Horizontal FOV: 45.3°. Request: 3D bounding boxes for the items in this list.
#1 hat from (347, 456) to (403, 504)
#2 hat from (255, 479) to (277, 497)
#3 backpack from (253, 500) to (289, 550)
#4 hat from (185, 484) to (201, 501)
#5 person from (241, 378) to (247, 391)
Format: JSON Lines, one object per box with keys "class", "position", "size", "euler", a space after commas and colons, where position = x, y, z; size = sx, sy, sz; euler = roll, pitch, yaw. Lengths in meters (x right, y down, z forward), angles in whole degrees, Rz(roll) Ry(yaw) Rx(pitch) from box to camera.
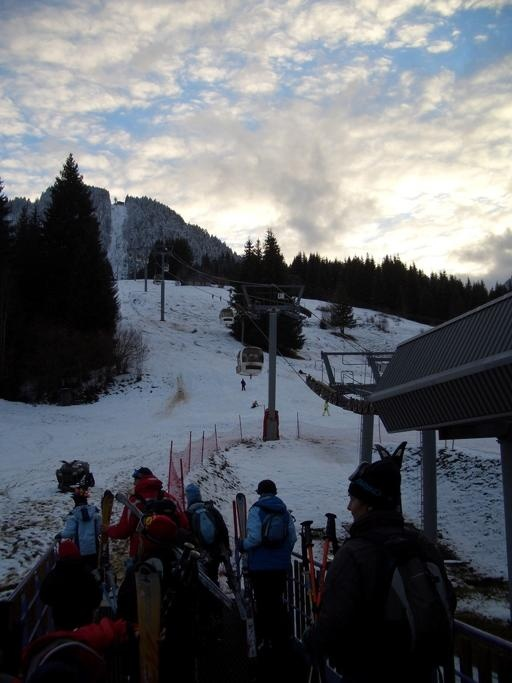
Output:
{"class": "hat", "position": [0.605, 0.720, 3.159], "size": [0.241, 0.268, 0.206], "euler": [-3, 7, -6]}
{"class": "hat", "position": [0.109, 1.410, 5.913], "size": [0.140, 0.222, 0.197], "euler": [1, -7, 0]}
{"class": "backpack", "position": [0.144, 1.694, 5.654], "size": [0.338, 0.446, 0.265], "euler": [0, 0, -4]}
{"class": "hat", "position": [-0.659, 1.616, 6.450], "size": [0.138, 0.230, 0.202], "euler": [-8, -4, -6]}
{"class": "person", "position": [-0.791, 2.840, 39.064], "size": [0.368, 0.403, 1.132], "euler": [1, -45, 5]}
